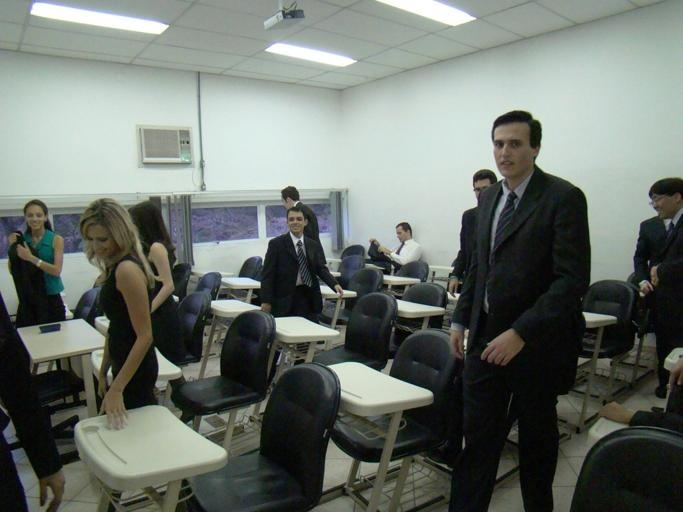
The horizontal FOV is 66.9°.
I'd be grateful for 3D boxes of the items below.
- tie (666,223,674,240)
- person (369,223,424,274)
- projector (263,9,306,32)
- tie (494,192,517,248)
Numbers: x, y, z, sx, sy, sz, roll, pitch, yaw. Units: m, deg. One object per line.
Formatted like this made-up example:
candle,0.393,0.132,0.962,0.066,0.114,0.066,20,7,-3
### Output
tie,2.724,-0.207,4.282,0.044,0.041,0.295,2,35,29
person,0.823,-0.096,7.669,0.768,0.883,0.623,5,-5,-24
projector,-0.555,-2.159,4.769,0.231,0.078,0.313,-13,8,-30
tie,0.837,-0.171,2.632,0.044,0.321,0.047,10,-28,35
